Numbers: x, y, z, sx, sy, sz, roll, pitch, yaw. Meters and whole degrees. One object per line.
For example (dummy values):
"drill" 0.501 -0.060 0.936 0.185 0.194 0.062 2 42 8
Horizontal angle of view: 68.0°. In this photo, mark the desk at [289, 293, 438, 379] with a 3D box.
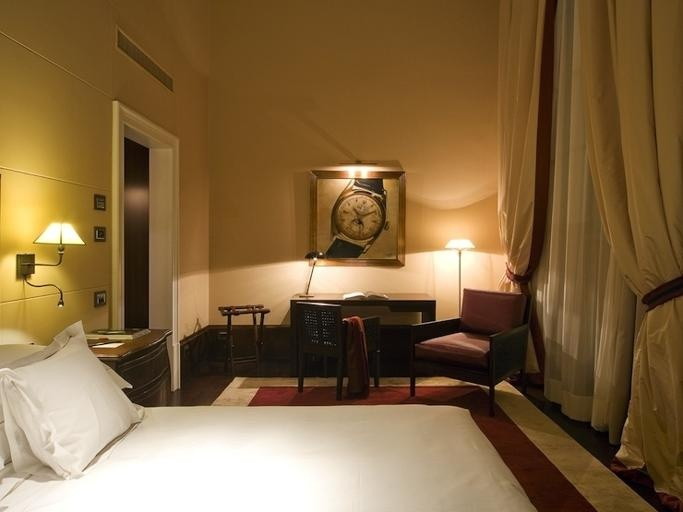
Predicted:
"desk" 0.402 0.873 5.615 1.240 0.798 0.523 2 -8 34

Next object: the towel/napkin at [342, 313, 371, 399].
"towel/napkin" 0.152 0.925 4.785 0.183 0.694 0.226 -10 2 -2

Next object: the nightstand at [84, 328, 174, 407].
"nightstand" -1.437 0.754 3.496 0.398 0.557 0.746 -1 2 -3

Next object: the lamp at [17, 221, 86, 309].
"lamp" -1.904 0.049 3.339 0.365 0.520 0.284 0 -3 -22

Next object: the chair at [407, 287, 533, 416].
"chair" 1.266 0.832 4.798 0.821 1.098 1.025 2 -1 39

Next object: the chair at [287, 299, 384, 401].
"chair" -0.258 0.879 4.944 0.637 0.879 0.716 2 -13 1

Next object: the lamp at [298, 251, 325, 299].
"lamp" -0.334 0.196 5.752 0.271 0.508 0.391 -1 9 -5
